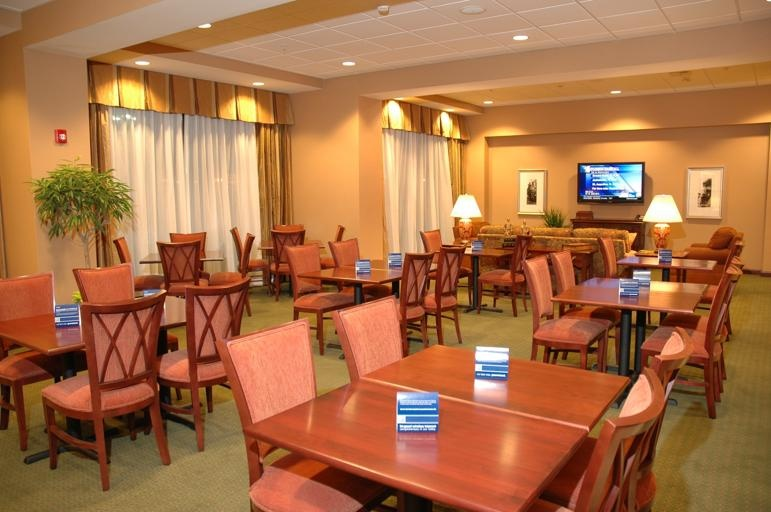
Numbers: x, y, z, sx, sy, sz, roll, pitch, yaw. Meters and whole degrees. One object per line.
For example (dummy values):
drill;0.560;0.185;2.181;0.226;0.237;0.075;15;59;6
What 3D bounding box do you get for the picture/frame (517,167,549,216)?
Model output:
picture/frame;3.567;-1.540;13.078;0.689;1.095;0.254;1;9;20
